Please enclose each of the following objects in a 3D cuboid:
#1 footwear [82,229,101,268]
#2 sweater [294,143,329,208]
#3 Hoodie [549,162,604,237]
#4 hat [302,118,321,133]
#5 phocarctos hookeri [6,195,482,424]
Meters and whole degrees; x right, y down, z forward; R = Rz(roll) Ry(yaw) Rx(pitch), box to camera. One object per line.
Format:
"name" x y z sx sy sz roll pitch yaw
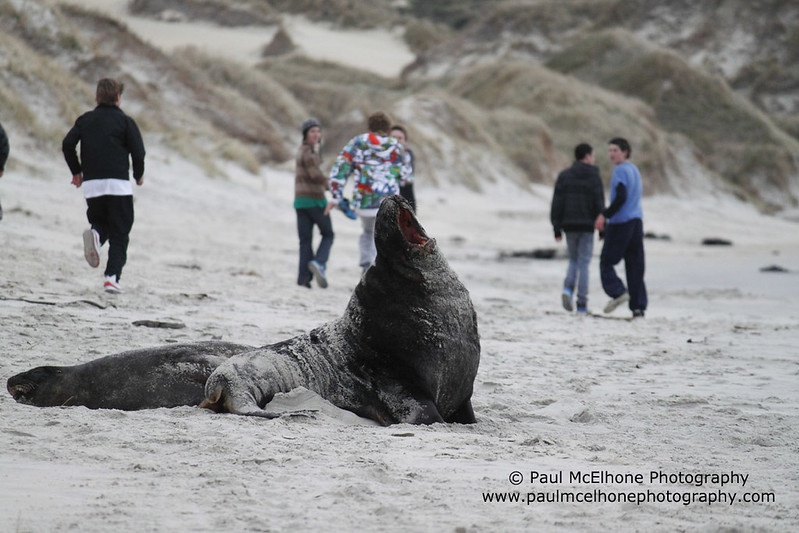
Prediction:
"footwear" -5.650 -0.312 27.452 0.294 0.695 0.294 -8 -1 14
"sweater" -1.784 -1.770 29.547 0.599 1.260 0.792 2 -29 -1
"Hoodie" 3.518 -1.294 29.531 1.061 1.356 0.564 2 -2 15
"hat" -1.760 -2.726 29.680 0.366 0.250 0.385 -26 7 -1
"phocarctos hookeri" -2.501 1.107 26.174 8.211 4.320 3.399 -5 6 -10
